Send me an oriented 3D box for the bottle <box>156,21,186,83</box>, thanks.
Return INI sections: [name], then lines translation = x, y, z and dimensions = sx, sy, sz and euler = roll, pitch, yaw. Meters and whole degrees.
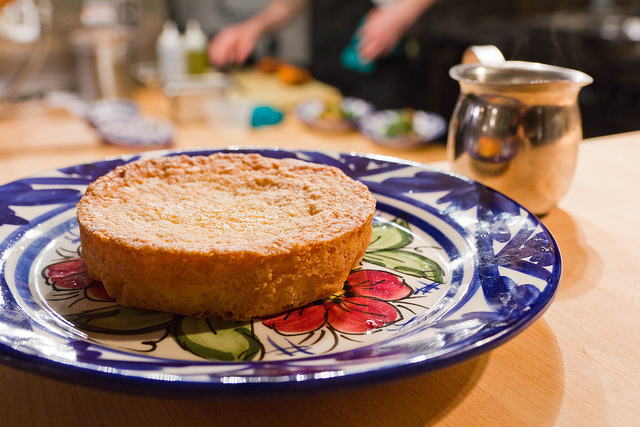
[bottle]
translation = -0.587, -0.625, 2.294
dimensions = 0.107, 0.165, 0.305
euler = -5, 34, -12
